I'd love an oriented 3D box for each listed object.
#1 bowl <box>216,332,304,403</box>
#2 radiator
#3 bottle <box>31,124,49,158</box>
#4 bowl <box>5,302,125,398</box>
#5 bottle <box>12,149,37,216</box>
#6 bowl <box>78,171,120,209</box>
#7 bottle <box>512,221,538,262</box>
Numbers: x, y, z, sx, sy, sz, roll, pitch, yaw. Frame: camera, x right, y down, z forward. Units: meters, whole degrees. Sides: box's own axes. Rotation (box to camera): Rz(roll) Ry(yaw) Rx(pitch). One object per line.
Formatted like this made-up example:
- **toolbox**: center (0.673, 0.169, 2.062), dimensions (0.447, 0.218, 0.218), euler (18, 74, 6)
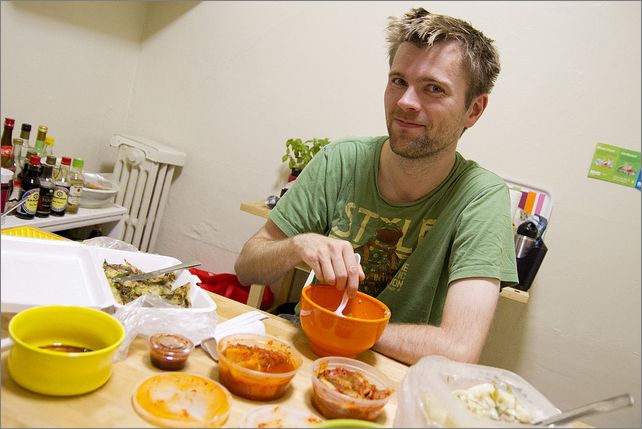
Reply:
- **bowl**: center (-0.146, 0.367, 1.004), dimensions (0.194, 0.074, 0.197), euler (13, 3, -1)
- **radiator**: center (-1.170, -0.121, 2.764), dimensions (0.440, 0.734, 0.295), euler (13, 4, 16)
- **bottle**: center (-1.293, -0.340, 1.956), dimensions (0.054, 0.140, 0.153), euler (9, 5, -33)
- **bowl**: center (-0.499, 0.281, 0.895), dimensions (0.243, 0.089, 0.153), euler (-3, 28, -31)
- **bottle**: center (-1.253, -0.117, 1.826), dimensions (0.072, 0.285, 0.100), euler (9, 5, -35)
- **bowl**: center (-1.181, -0.138, 2.274), dimensions (0.204, 0.081, 0.205), euler (22, 11, -5)
- **bottle**: center (1.032, 0.140, 2.136), dimensions (0.103, 0.190, 0.106), euler (4, 15, -1)
